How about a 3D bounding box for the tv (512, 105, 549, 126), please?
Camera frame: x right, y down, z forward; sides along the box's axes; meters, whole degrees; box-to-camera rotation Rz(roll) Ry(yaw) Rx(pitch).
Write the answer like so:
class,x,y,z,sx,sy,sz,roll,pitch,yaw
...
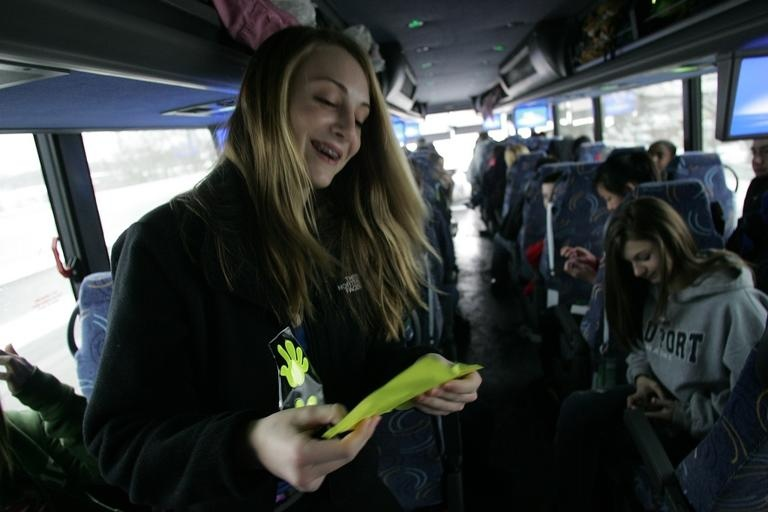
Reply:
class,x,y,z,sx,sy,sz,roll,pitch,yaw
tv,2.082,-2.282,7.780,0.343,0.312,0.856,-5,16,-1
